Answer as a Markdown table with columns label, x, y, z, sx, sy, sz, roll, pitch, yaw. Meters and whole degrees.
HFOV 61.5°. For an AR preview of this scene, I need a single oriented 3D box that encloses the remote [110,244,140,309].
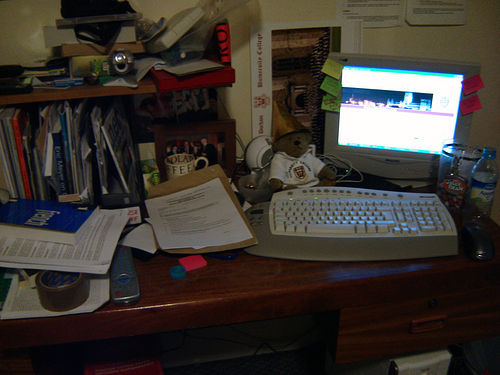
| label | x | y | z | sx | sy | sz | roll | pitch | yaw |
| --- | --- | --- | --- | --- | --- | --- | --- | --- | --- |
| remote | -0.341 | 0.242 | 1.130 | 0.060 | 0.052 | 0.202 | -1 | 35 | -13 |

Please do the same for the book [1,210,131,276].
| label | x | y | z | sx | sy | sz | roll | pitch | yaw |
| --- | --- | --- | --- | --- | --- | --- | --- | --- | --- |
| book | -0.483 | 0.149 | 1.086 | 0.178 | 0.032 | 0.191 | 3 | 32 | -5 |

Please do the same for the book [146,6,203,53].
| label | x | y | z | sx | sy | sz | roll | pitch | yaw |
| --- | --- | --- | --- | --- | --- | --- | --- | --- | --- |
| book | -0.262 | -0.511 | 1.367 | 0.158 | 0.126 | 0.204 | -15 | 23 | -28 |

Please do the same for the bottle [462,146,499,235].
| label | x | y | z | sx | sy | sz | roll | pitch | yaw |
| --- | --- | --- | --- | --- | --- | --- | --- | --- | --- |
| bottle | 0.724 | 0.007 | 1.330 | 0.102 | 0.270 | 0.097 | 1 | 26 | -1 |

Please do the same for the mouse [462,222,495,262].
| label | x | y | z | sx | sy | sz | roll | pitch | yaw |
| --- | --- | --- | --- | --- | --- | --- | --- | --- | --- |
| mouse | 0.651 | 0.155 | 1.189 | 0.062 | 0.037 | 0.116 | -1 | 40 | 11 |

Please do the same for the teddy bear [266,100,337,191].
| label | x | y | z | sx | sy | sz | roll | pitch | yaw |
| --- | --- | --- | --- | --- | --- | --- | --- | --- | --- |
| teddy bear | 0.179 | -0.146 | 1.482 | 0.193 | 0.262 | 0.179 | -32 | 40 | -25 |

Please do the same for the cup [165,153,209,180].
| label | x | y | z | sx | sy | sz | roll | pitch | yaw |
| --- | --- | --- | --- | --- | --- | --- | --- | --- | --- |
| cup | -0.231 | -0.079 | 1.464 | 0.115 | 0.074 | 0.073 | -7 | 25 | -13 |
